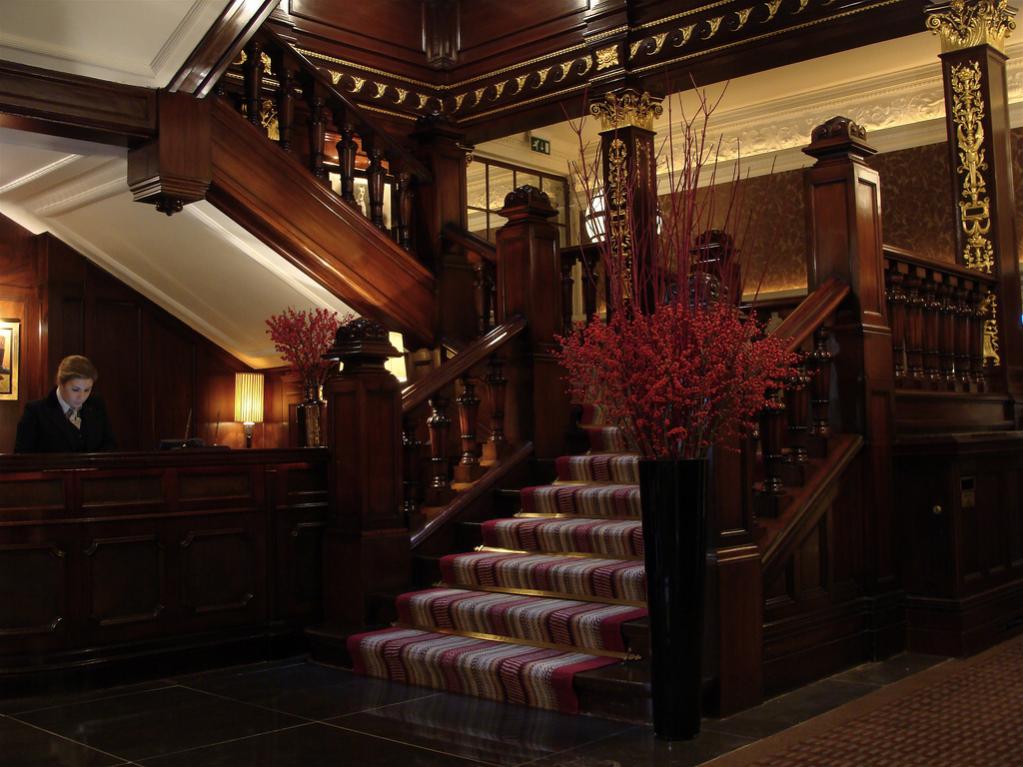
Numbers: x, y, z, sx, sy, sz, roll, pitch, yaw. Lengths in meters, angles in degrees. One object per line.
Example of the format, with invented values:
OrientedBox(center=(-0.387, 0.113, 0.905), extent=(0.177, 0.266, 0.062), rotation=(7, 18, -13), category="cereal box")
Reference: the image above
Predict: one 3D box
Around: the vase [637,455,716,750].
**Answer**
OrientedBox(center=(0.664, 0.859, 3.314), extent=(0.260, 1.135, 0.200), rotation=(-2, -2, -8), category="vase")

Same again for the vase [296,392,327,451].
OrientedBox(center=(-1.367, 0.241, 5.649), extent=(0.179, 0.354, 0.520), rotation=(-2, -1, -15), category="vase")

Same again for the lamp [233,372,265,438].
OrientedBox(center=(-2.635, 0.221, 8.339), extent=(0.314, 0.710, 0.588), rotation=(-1, -2, -21), category="lamp")
